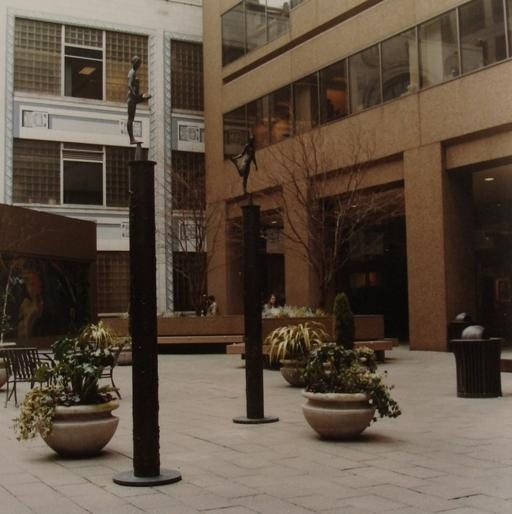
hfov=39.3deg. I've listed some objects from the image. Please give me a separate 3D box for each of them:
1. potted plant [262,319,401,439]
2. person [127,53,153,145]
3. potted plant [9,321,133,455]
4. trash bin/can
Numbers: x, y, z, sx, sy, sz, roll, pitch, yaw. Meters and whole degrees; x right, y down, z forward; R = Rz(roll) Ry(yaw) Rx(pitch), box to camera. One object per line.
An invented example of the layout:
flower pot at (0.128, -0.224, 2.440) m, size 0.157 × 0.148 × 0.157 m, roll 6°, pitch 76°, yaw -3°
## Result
potted plant at (0.840, 1.406, 8.243) m, size 1.089 × 0.972 × 1.702 m, roll 1°, pitch -6°, yaw -13°
person at (-1.087, -1.451, 6.688) m, size 0.203 × 0.801 × 0.168 m, roll 1°, pitch 12°, yaw -8°
potted plant at (-1.835, 1.387, 7.093) m, size 0.926 × 1.133 × 0.661 m, roll 0°, pitch -4°, yaw -12°
trash bin/can at (3.287, 1.544, 10.779) m, size 0.801 × 1.385 × 0.852 m, roll -1°, pitch -5°, yaw 5°
